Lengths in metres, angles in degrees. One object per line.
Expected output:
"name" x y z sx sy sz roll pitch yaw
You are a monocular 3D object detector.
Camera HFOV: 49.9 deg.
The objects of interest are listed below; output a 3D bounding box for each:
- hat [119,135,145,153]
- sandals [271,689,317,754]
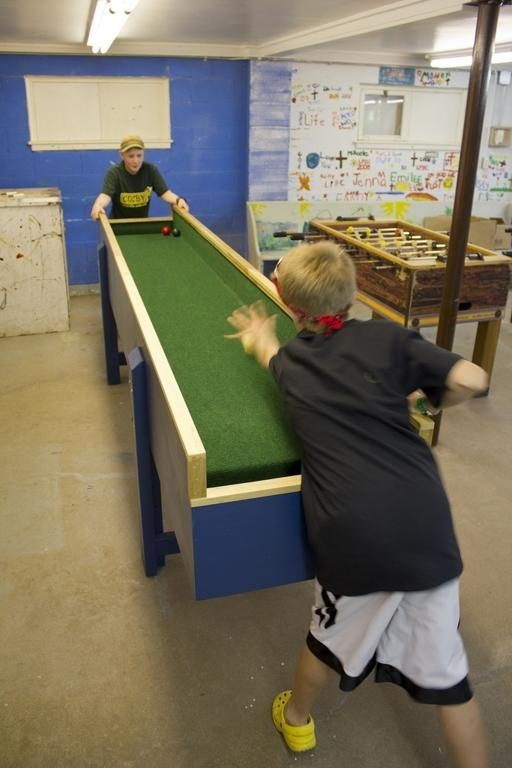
"hat" -0.991 -1.875 4.388 0.138 0.110 0.187 -10 13 -16
"sandals" 0.115 0.965 1.598 0.086 0.082 0.184 -5 24 -12
